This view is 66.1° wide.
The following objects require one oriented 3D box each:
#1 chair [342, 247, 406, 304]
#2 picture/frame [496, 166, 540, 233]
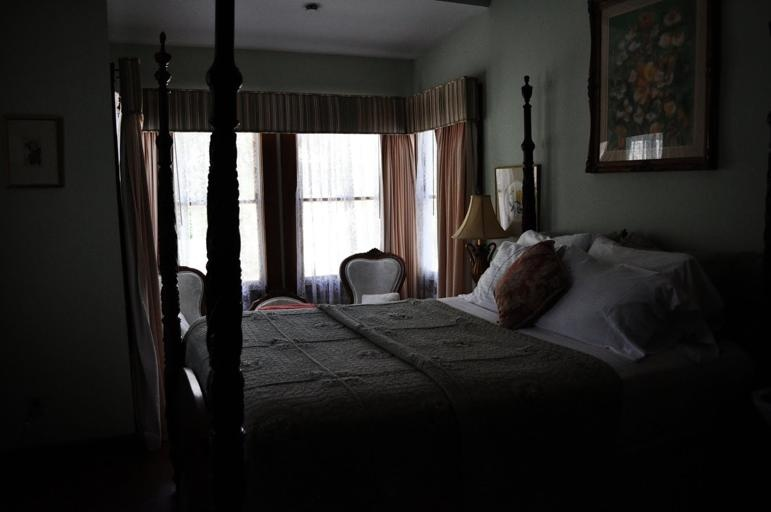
[{"bbox_3d":[-0.143,0.162,5.911,0.518,0.768,0.544,-2,1,-15],"label":"chair"},{"bbox_3d":[1.075,-0.450,4.767,0.057,0.546,0.564,0,0,-23],"label":"picture/frame"}]
